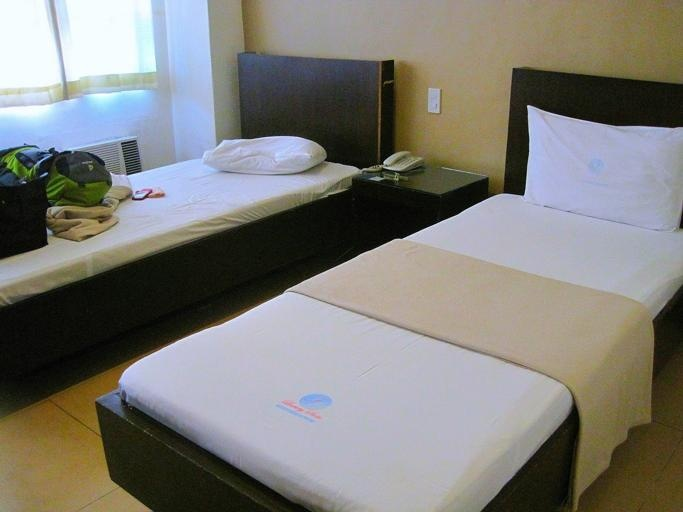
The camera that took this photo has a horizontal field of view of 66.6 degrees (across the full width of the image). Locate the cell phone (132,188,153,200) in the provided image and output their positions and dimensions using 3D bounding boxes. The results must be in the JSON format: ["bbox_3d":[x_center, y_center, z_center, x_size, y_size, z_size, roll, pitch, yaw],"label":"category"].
[{"bbox_3d":[-1.292,-0.409,3.371,0.073,0.023,0.122,-2,20,-3],"label":"cell phone"}]

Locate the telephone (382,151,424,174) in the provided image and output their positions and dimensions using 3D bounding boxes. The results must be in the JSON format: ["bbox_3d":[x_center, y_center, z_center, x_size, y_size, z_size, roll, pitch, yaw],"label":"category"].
[{"bbox_3d":[0.439,-0.689,3.658,0.171,0.085,0.235,19,30,39],"label":"telephone"}]
